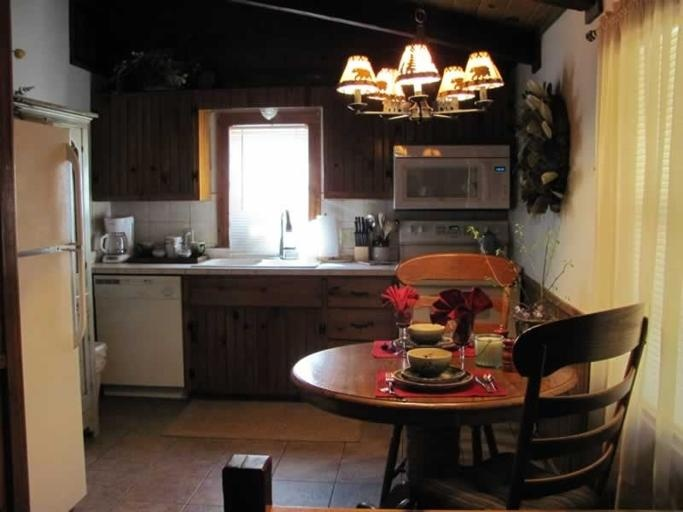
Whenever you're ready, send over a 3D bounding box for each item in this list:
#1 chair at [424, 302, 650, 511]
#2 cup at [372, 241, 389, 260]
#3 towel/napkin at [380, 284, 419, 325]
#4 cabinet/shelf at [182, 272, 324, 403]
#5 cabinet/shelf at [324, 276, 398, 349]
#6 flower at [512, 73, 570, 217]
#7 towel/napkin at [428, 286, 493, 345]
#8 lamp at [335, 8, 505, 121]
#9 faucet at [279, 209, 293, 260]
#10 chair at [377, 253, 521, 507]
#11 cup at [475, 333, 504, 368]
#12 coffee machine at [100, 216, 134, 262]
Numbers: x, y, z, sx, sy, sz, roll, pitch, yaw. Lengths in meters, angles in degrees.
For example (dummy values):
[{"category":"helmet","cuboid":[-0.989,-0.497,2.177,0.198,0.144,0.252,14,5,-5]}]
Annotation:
[{"category":"chair","cuboid":[0.706,0.535,2.086,0.718,0.801,0.459,-8,13,-30]},{"category":"cup","cuboid":[0.308,-0.036,4.622,0.122,0.123,0.124,1,4,0]},{"category":"towel/napkin","cuboid":[0.274,0.210,2.655,0.162,0.194,0.186,2,-2,-39]},{"category":"cabinet/shelf","cuboid":[-0.631,0.495,4.593,1.092,1.077,0.631,2,21,0]},{"category":"cabinet/shelf","cuboid":[0.118,0.401,4.212,0.440,0.824,0.481,0,0,1]},{"category":"flower","cuboid":[1.133,-0.611,3.287,0.273,0.744,0.271,1,11,12]},{"category":"towel/napkin","cuboid":[0.507,0.231,2.462,0.244,0.232,0.246,2,-3,-39]},{"category":"lamp","cuboid":[0.387,-0.967,2.981,0.816,0.535,0.867,0,8,4]},{"category":"faucet","cuboid":[-0.456,-0.184,4.806,0.129,0.396,0.197,-2,11,-6]},{"category":"chair","cuboid":[0.527,0.731,2.928,0.685,1.378,0.668,7,14,29]},{"category":"cup","cuboid":[0.608,0.386,2.404,0.106,0.107,0.121,3,7,30]},{"category":"coffee machine","cuboid":[-1.894,-0.128,4.709,0.219,0.420,0.383,0,-4,-2]}]
